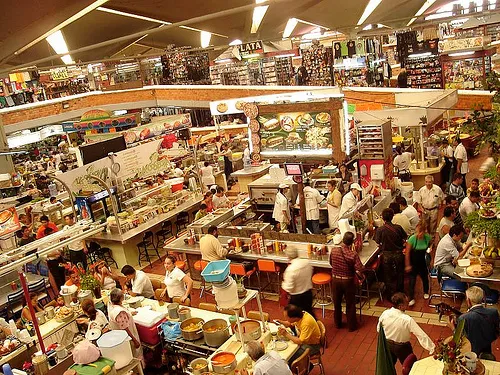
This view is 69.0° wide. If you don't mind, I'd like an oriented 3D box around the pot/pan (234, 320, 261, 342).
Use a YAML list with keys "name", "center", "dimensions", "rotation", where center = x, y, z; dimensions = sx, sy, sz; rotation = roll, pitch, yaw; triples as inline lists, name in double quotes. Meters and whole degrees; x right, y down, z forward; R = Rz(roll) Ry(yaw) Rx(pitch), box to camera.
- name: "pot/pan"
  center: [-0.028, 2.003, 5.093]
  dimensions: [0.269, 0.109, 0.323]
  rotation: [-3, 18, -5]

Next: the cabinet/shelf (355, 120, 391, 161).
- name: "cabinet/shelf"
  center: [3.119, -1.131, 9.389]
  dimensions: [0.785, 0.921, 0.914]
  rotation: [-3, 3, 38]

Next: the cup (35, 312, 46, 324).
- name: "cup"
  center: [-3.711, 2.301, 6.418]
  dimensions: [0.158, 0.160, 0.157]
  rotation: [0, 0, 0]

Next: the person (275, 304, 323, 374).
- name: "person"
  center: [0.689, 2.159, 5.097]
  dimensions: [0.620, 1.130, 0.534]
  rotation: [-15, 41, -2]

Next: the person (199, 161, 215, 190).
- name: "person"
  center: [-1.590, -0.474, 13.500]
  dimensions: [0.493, 1.089, 1.819]
  rotation: [-9, 20, -6]

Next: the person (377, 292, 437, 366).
- name: "person"
  center: [2.045, 2.041, 4.817]
  dimensions: [0.460, 1.176, 0.670]
  rotation: [-13, 20, -17]

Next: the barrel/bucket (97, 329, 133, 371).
- name: "barrel/bucket"
  center: [-1.805, 2.120, 4.923]
  dimensions: [0.449, 0.354, 0.429]
  rotation: [-1, 13, 0]

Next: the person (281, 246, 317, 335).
- name: "person"
  center: [0.820, 1.784, 6.354]
  dimensions: [0.609, 1.740, 0.572]
  rotation: [-16, 23, -20]

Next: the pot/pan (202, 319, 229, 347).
- name: "pot/pan"
  center: [-0.489, 2.089, 5.231]
  dimensions: [0.338, 0.176, 0.343]
  rotation: [-17, 26, -25]

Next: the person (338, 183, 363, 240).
- name: "person"
  center: [2.152, 0.544, 7.753]
  dimensions: [0.396, 1.151, 0.488]
  rotation: [-4, 38, 5]

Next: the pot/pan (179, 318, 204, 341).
- name: "pot/pan"
  center: [-0.869, 2.131, 5.433]
  dimensions: [0.358, 0.191, 0.298]
  rotation: [-9, 20, -5]

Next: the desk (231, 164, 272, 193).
- name: "desk"
  center: [-0.010, -0.653, 13.230]
  dimensions: [0.899, 0.852, 1.737]
  rotation: [3, 22, 28]

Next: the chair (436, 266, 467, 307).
- name: "chair"
  center: [3.516, 1.718, 6.305]
  dimensions: [0.439, 0.767, 0.414]
  rotation: [-7, 38, 32]

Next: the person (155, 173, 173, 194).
- name: "person"
  center: [-2.961, -0.176, 12.096]
  dimensions: [0.419, 0.466, 1.826]
  rotation: [-14, 21, -19]

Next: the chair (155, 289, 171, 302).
- name: "chair"
  center: [-1.655, 2.073, 6.935]
  dimensions: [0.213, 0.278, 0.230]
  rotation: [16, 24, 41]

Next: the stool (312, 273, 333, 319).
- name: "stool"
  center: [1.432, 2.178, 7.257]
  dimensions: [0.318, 0.659, 0.329]
  rotation: [-3, -1, 14]

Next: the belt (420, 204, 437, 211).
- name: "belt"
  center: [4.165, 0.486, 8.464]
  dimensions: [0.361, 0.147, 0.134]
  rotation: [3, 22, 26]

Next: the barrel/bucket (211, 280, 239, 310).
- name: "barrel/bucket"
  center: [-0.287, 1.304, 4.359]
  dimensions: [0.292, 0.388, 0.182]
  rotation: [-11, 20, -12]

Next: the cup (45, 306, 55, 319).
- name: "cup"
  center: [-3.626, 2.275, 6.551]
  dimensions: [0.154, 0.188, 0.156]
  rotation: [-6, 19, 2]

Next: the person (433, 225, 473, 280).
- name: "person"
  center: [3.562, 1.158, 6.354]
  dimensions: [0.590, 1.133, 0.558]
  rotation: [-4, 44, 18]

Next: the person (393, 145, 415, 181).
- name: "person"
  center: [4.528, -0.626, 10.805]
  dimensions: [0.449, 0.906, 0.853]
  rotation: [3, 22, 26]

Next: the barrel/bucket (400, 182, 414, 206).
- name: "barrel/bucket"
  center: [3.839, 0.184, 8.916]
  dimensions: [0.355, 0.546, 0.375]
  rotation: [-11, 29, 6]

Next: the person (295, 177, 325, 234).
- name: "person"
  center: [1.594, 0.586, 9.429]
  dimensions: [0.737, 1.775, 0.553]
  rotation: [0, 20, 23]

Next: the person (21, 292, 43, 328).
- name: "person"
  center: [-3.858, 2.172, 6.375]
  dimensions: [0.366, 0.325, 1.030]
  rotation: [9, -30, -21]

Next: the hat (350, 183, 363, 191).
- name: "hat"
  center: [2.483, 0.000, 8.453]
  dimensions: [0.207, 0.114, 0.164]
  rotation: [-4, 10, -6]

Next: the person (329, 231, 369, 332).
- name: "person"
  center: [1.726, 1.711, 6.498]
  dimensions: [0.574, 1.712, 0.580]
  rotation: [3, 21, 26]

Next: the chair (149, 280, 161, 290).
- name: "chair"
  center: [-1.941, 2.040, 7.482]
  dimensions: [0.202, 0.255, 0.202]
  rotation: [2, 11, 3]
